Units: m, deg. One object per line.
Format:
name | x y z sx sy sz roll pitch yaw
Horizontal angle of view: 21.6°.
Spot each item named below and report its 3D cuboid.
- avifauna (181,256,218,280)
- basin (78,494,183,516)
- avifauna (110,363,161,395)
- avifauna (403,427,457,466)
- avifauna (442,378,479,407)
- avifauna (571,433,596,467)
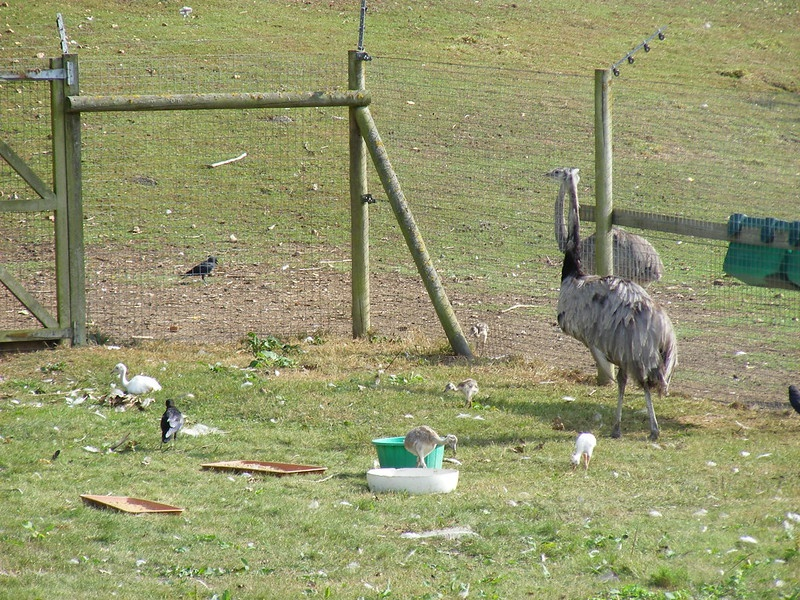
avifauna | -3.643 -0.544 36.789 0.776 0.428 0.249 -2 -2 12
basin | -3.797 2.889 29.044 0.849 0.088 0.525 7 -4 23
avifauna | -4.042 1.260 31.791 0.914 0.645 0.333 1 3 -3
avifauna | 0.404 2.156 29.857 0.848 0.597 0.399 8 -1 32
avifauna | 0.910 1.343 31.945 0.532 0.387 0.752 4 20 2
avifauna | 2.588 2.199 29.987 0.287 0.452 0.315 8 21 11
